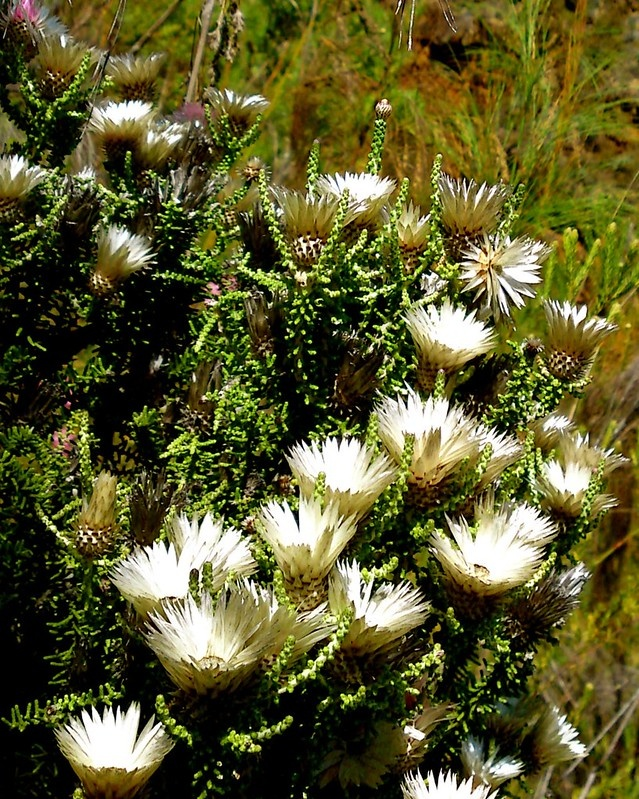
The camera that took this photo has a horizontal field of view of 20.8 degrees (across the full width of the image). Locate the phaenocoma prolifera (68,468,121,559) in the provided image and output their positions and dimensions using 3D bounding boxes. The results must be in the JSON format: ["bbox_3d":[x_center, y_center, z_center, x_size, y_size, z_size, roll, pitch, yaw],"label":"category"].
[{"bbox_3d":[-0.358,0.189,2.776,0.057,0.160,0.066,-13,35,-32],"label":"phaenocoma prolifera"}]

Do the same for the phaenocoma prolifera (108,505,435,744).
[{"bbox_3d":[-0.121,0.324,2.597,0.312,0.212,0.310,25,10,-32],"label":"phaenocoma prolifera"}]

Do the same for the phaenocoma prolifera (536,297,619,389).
[{"bbox_3d":[0.431,-0.078,2.973,0.108,0.137,0.128,22,-6,-19],"label":"phaenocoma prolifera"}]

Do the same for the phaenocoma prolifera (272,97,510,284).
[{"bbox_3d":[0.062,-0.365,2.858,0.233,0.223,0.280,3,8,-28],"label":"phaenocoma prolifera"}]

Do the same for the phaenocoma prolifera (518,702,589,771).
[{"bbox_3d":[0.398,0.581,2.995,0.111,0.104,0.096,5,47,-3],"label":"phaenocoma prolifera"}]

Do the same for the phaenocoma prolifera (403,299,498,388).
[{"bbox_3d":[0.185,-0.071,2.848,0.108,0.118,0.111,23,17,-12],"label":"phaenocoma prolifera"}]

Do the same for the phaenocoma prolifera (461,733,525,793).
[{"bbox_3d":[0.284,0.594,2.857,0.082,0.057,0.087,36,9,31],"label":"phaenocoma prolifera"}]
